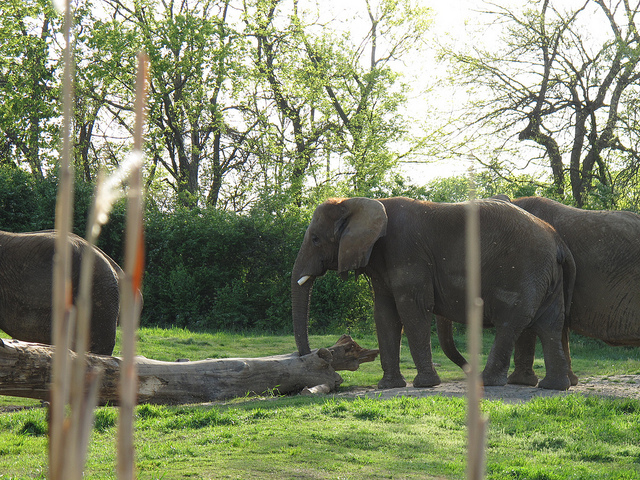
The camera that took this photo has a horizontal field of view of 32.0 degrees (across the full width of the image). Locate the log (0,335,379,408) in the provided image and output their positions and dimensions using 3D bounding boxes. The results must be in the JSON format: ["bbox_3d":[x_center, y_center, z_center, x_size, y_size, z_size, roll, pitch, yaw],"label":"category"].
[{"bbox_3d":[-2.674,2.685,22.668,6.330,1.015,1.287,4,7,-23],"label":"log"}]
